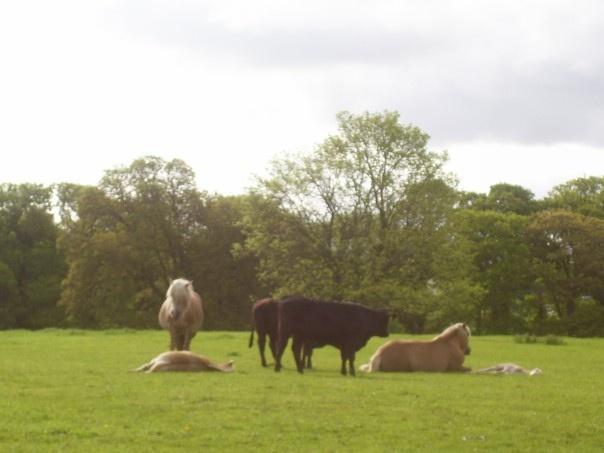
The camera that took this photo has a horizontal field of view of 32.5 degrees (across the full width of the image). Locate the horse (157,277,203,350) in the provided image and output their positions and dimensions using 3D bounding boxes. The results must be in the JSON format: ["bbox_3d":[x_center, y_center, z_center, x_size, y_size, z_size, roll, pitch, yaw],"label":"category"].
[{"bbox_3d":[-6.143,4.634,53.130,1.980,4.036,3.245,0,5,-7],"label":"horse"}]

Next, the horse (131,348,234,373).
[{"bbox_3d":[-5.652,6.689,49.238,4.455,1.699,1.684,4,4,-7],"label":"horse"}]

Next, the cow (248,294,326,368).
[{"bbox_3d":[-1.413,5.265,53.434,2.572,3.682,2.629,-3,-2,-23],"label":"cow"}]

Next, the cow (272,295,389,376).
[{"bbox_3d":[1.348,5.230,50.309,5.146,3.454,1.087,1,5,1],"label":"cow"}]

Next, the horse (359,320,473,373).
[{"bbox_3d":[5.972,6.159,51.651,6.362,3.195,2.214,-4,-1,-8],"label":"horse"}]
